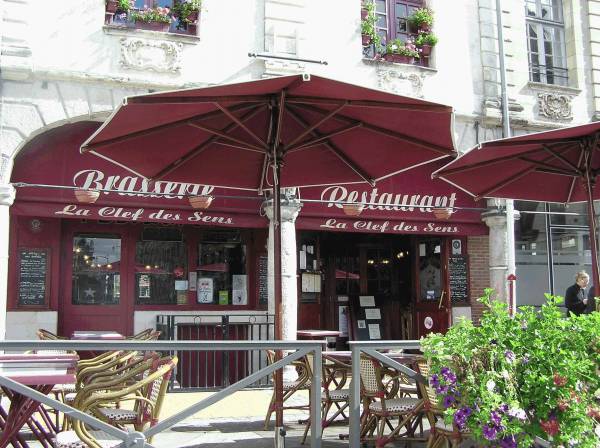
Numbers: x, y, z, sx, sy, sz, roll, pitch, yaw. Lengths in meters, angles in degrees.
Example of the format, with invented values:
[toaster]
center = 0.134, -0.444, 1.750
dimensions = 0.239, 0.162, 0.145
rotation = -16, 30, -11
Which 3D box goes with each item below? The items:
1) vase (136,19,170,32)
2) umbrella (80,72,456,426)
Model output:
[vase]
center = -2.509, -3.368, 11.308
dimensions = 0.364, 0.114, 0.236
rotation = -1, 3, -19
[umbrella]
center = -0.267, 0.322, 6.704
dimensions = 3.476, 3.174, 2.414
rotation = 0, -7, -10
